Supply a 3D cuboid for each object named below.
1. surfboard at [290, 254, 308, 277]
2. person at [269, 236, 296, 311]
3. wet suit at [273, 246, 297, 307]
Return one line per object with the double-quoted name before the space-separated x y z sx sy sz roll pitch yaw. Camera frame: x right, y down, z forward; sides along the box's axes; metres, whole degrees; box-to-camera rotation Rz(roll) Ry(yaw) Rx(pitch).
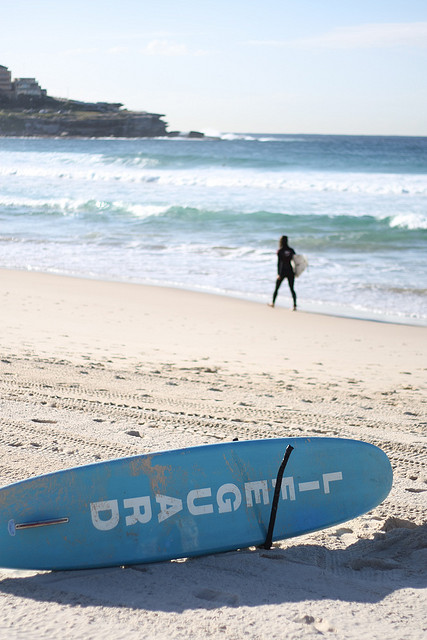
"surfboard" 0.957 -0.633 10.797 0.203 0.288 0.093 5 29 -19
"person" 0.784 -0.546 10.331 0.283 0.753 0.626 5 12 4
"wet suit" 0.741 -0.503 10.420 0.340 0.765 0.273 -1 0 -11
